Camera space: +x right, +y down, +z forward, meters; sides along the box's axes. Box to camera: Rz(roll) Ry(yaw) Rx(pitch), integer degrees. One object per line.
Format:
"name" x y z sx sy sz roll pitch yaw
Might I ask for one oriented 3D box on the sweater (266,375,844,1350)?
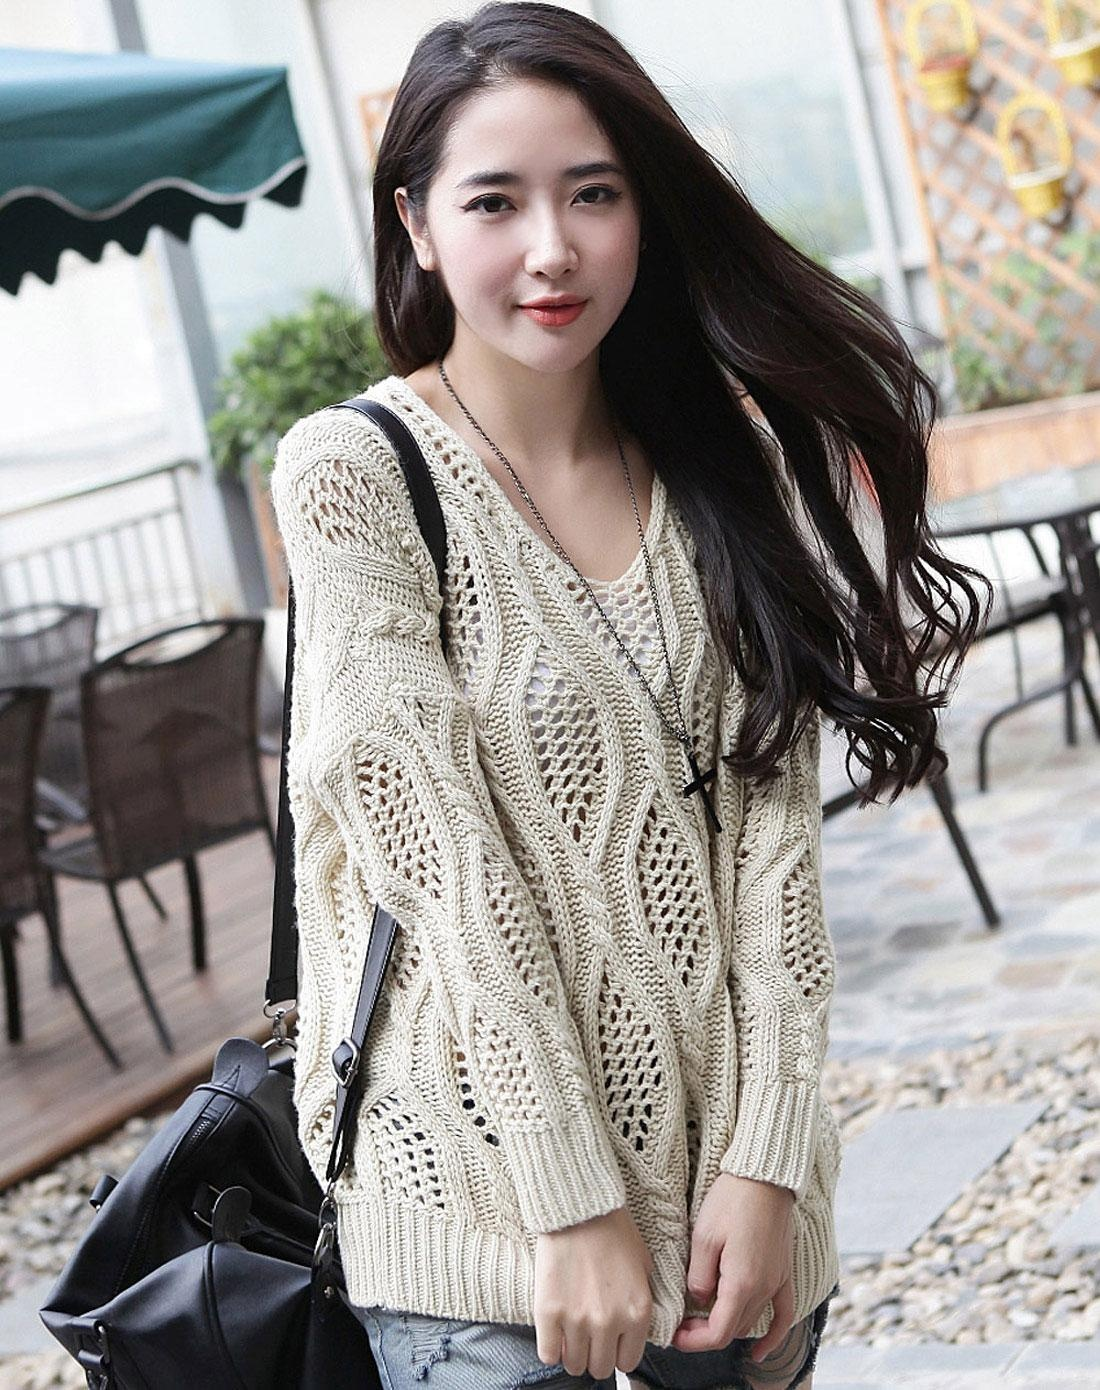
"sweater" 0.004 0.108 0.884 0.242 0.511 0.400 -9 8 42
